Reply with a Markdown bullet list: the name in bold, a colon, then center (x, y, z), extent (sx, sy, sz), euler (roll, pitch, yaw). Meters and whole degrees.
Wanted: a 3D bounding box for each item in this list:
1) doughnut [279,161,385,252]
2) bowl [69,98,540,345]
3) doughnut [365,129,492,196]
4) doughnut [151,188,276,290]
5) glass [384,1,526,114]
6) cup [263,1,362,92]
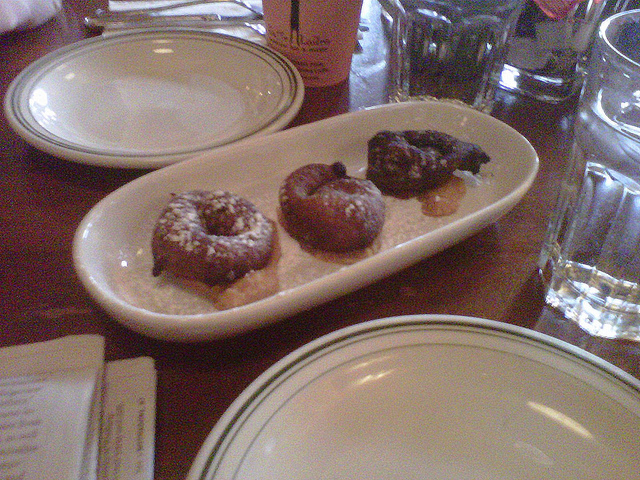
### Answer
- **doughnut**: center (0.015, -0.045, 0.782), extent (0.147, 0.054, 0.126), euler (25, 57, 26)
- **bowl**: center (0.005, -0.003, 0.833), extent (0.611, 0.103, 0.304), euler (-17, 47, -19)
- **doughnut**: center (0.154, -0.119, 0.832), extent (0.165, 0.068, 0.095), euler (-6, 45, -3)
- **doughnut**: center (-0.138, -0.006, 0.736), extent (0.149, 0.055, 0.149), euler (-4, 49, 4)
- **glass**: center (0.199, -0.317, 0.993), extent (0.207, 0.221, 0.196), euler (-2, 45, 0)
- **cup**: center (-0.019, -0.331, 0.959), extent (0.136, 0.206, 0.129), euler (-1, 54, 1)
